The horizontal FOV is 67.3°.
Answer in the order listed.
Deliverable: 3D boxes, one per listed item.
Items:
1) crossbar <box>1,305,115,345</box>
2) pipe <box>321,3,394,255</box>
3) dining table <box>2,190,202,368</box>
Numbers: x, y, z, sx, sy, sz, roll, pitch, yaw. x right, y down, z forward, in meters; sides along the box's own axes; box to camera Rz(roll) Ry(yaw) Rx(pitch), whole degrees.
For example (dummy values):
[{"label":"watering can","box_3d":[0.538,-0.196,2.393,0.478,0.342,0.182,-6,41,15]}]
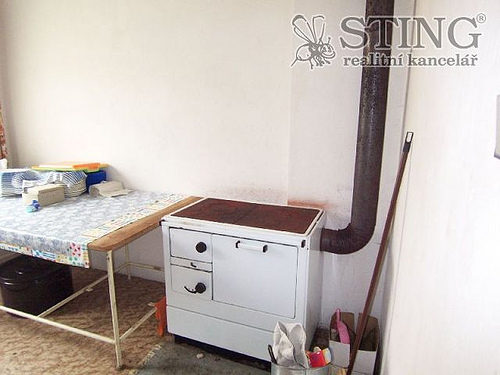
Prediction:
[{"label":"crossbar","box_3d":[-1.394,0.991,2.685,1.048,0.042,0.041,17,57,8]},{"label":"pipe","box_3d":[0.646,-0.319,2.336,0.345,1.521,0.306,5,21,19]},{"label":"dining table","box_3d":[-1.008,0.803,2.945,1.521,0.798,1.057,11,23,22]}]
